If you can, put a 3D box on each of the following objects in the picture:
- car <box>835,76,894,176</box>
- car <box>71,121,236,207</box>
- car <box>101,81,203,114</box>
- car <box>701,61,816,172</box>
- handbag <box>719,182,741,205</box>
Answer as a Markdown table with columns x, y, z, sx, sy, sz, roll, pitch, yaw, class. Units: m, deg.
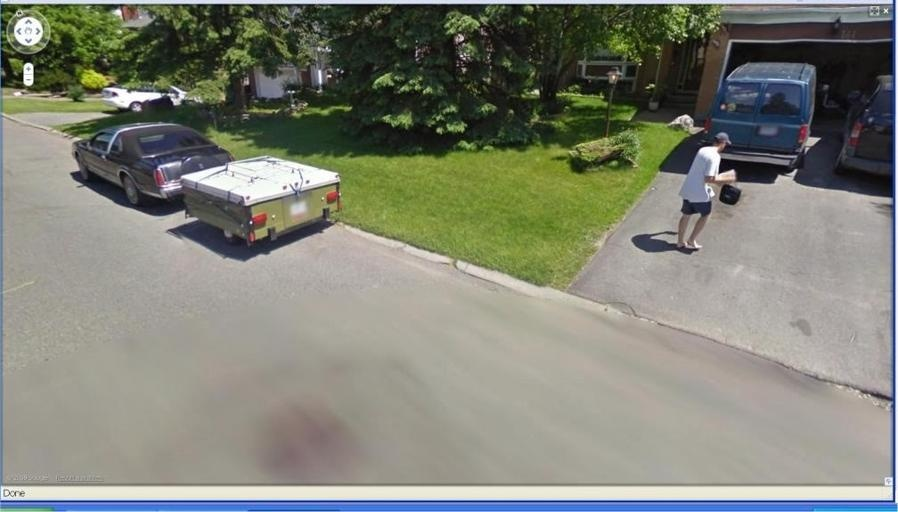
| x | y | z | sx | sy | sz | roll | pitch | yaw | class |
| --- | --- | --- | --- | --- | --- | --- | --- | --- | --- |
| 13.490 | -4.363 | 16.890 | 1.756 | 1.555 | 3.703 | 6 | 44 | 33 | car |
| -9.736 | -2.974 | 17.224 | 4.634 | 2.396 | 2.032 | 16 | 28 | 20 | car |
| -15.385 | -8.137 | 27.052 | 3.406 | 1.051 | 1.512 | -18 | 34 | -31 | car |
| 10.174 | -4.496 | 17.007 | 2.947 | 3.095 | 2.236 | 14 | 28 | 17 | car |
| 7.900 | -1.729 | 14.646 | 0.568 | 0.716 | 0.379 | 13 | 40 | 30 | handbag |
